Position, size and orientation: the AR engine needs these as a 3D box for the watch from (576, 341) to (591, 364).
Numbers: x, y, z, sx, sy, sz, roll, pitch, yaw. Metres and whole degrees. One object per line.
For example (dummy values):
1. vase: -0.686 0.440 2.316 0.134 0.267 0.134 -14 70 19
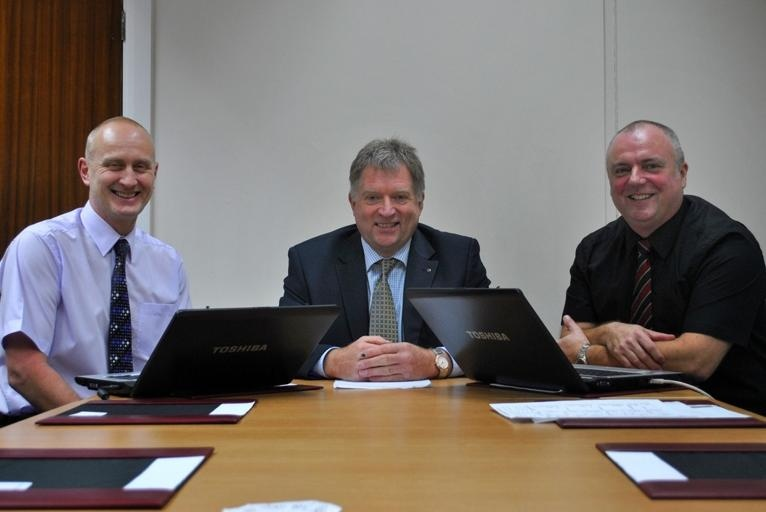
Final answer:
1. watch: 0.860 0.426 2.605 0.079 0.085 0.054 13 1 19

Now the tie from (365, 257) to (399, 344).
1. tie: 0.002 0.199 2.790 0.132 0.352 0.231 -1 9 0
